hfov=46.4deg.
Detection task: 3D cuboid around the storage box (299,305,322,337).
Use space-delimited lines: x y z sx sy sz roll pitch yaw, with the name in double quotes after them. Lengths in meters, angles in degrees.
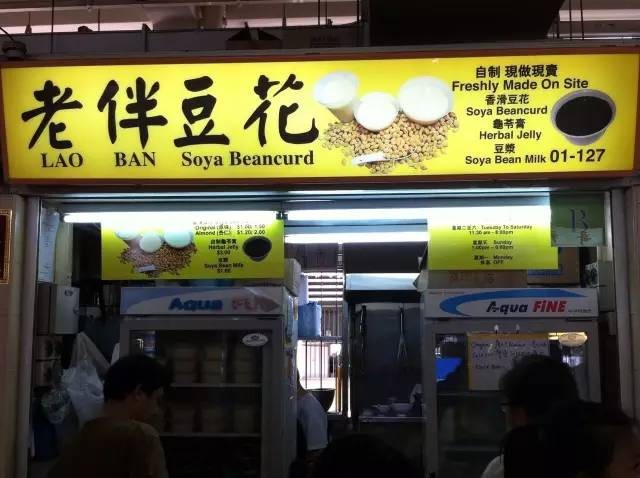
-0.115 0.849 7.752 0.253 0.444 0.239 3 -18 -3 "storage box"
